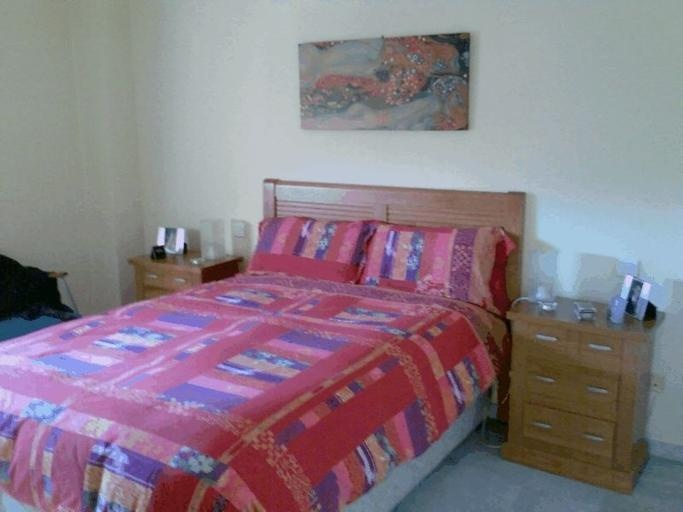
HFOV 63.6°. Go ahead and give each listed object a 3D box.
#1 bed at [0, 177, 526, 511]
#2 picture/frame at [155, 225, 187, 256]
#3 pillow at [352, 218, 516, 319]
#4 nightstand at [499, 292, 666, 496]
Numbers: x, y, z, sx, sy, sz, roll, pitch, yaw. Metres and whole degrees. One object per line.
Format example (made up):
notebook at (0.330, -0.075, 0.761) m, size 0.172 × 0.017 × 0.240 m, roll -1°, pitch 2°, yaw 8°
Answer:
bed at (-0.093, 0.684, 3.036) m, size 1.789 × 1.356 × 2.199 m, roll 10°, pitch 23°, yaw 27°
picture/frame at (-1.366, -0.120, 4.442) m, size 0.234 × 0.176 × 0.069 m, roll 11°, pitch 11°, yaw 26°
pillow at (0.569, 0.059, 3.374) m, size 0.877 × 0.500 × 0.265 m, roll 6°, pitch 8°, yaw 26°
nightstand at (1.328, 0.729, 3.078) m, size 0.705 × 0.891 × 0.513 m, roll 5°, pitch 12°, yaw 33°
